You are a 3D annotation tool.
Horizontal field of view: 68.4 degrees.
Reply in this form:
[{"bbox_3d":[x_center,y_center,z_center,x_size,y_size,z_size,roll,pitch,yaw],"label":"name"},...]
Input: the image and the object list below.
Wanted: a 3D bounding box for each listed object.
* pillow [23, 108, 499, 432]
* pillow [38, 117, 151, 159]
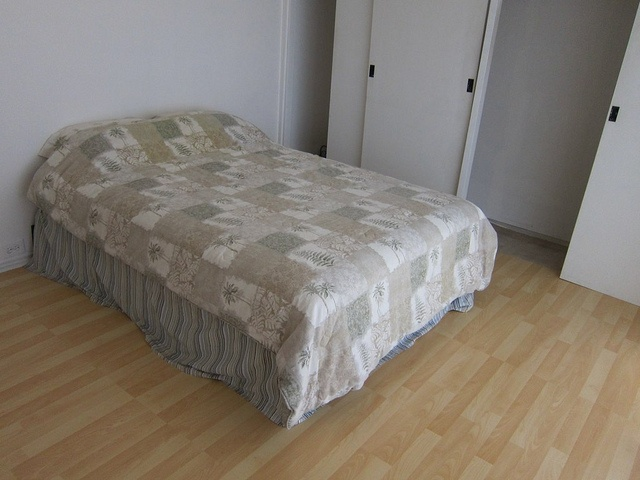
[{"bbox_3d":[-0.367,-0.067,2.846,2.399,0.903,1.629,20,36,28],"label":"pillow"},{"bbox_3d":[-1.541,-0.687,3.032,0.386,0.095,0.333,-26,41,-35],"label":"pillow"}]
